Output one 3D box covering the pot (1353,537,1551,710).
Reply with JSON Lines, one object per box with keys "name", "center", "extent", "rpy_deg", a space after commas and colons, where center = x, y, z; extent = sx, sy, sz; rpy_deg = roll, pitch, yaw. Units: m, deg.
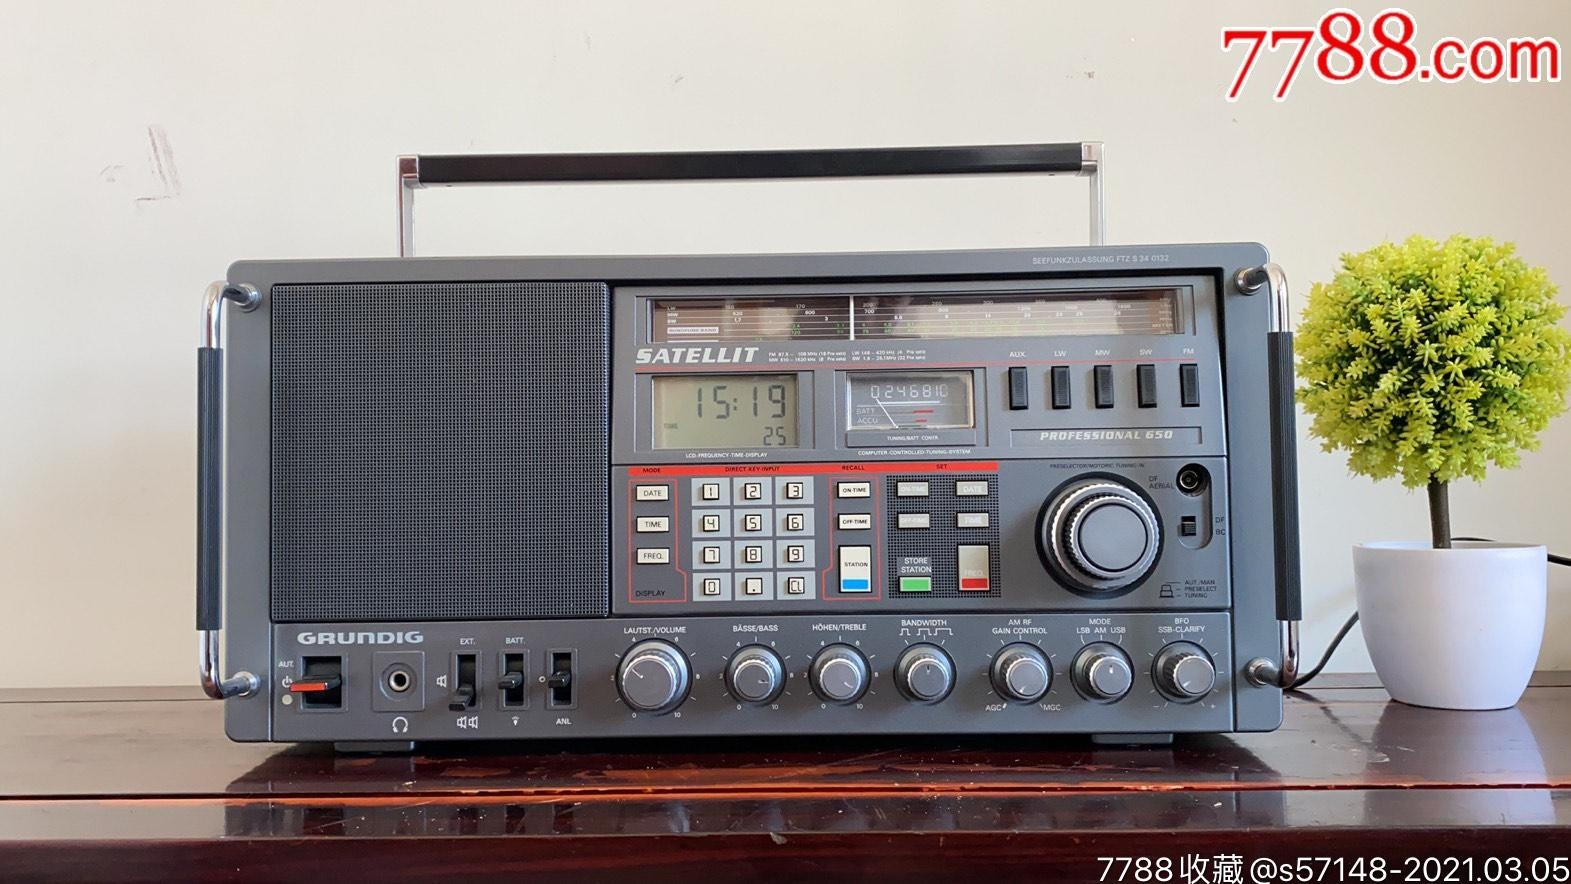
{"name": "pot", "center": [1.201, 0.336, 3.588], "extent": [0.409, 0.285, 0.352], "rpy_deg": [2, -5, -24]}
